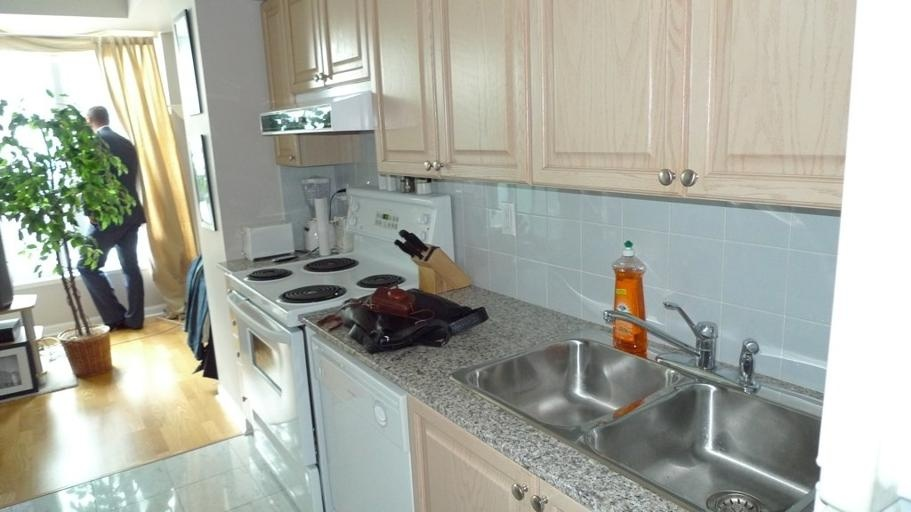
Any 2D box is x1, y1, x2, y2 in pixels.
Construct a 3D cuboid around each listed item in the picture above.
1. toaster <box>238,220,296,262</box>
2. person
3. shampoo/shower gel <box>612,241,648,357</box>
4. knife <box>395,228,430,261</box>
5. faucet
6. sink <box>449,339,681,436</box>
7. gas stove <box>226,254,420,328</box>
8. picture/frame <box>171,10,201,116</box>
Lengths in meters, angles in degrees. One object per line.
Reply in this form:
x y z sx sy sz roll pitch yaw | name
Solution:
-1.277 -0.126 3.955 0.470 0.286 0.245 -10 20 -28 | toaster
-3.233 -0.404 5.648 0.663 2.254 0.738 -5 17 -21 | person
0.724 0.169 2.390 0.197 0.448 0.180 5 12 39 | shampoo/shower gel
-0.208 -0.071 3.023 0.225 0.110 0.058 35 50 0 | knife
0.910 0.285 2.332 0.566 0.319 0.190 -6 12 -23 | faucet
0.444 0.526 2.252 0.704 0.186 0.552 -12 16 -36 | sink
-0.766 0.154 3.337 0.606 0.148 0.643 -11 14 -40 | gas stove
-1.809 -1.280 3.849 0.075 0.585 0.590 -12 22 -27 | picture/frame
